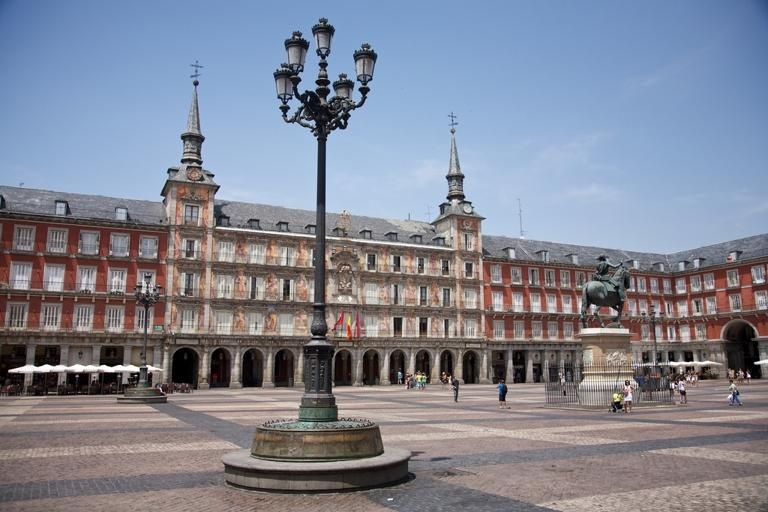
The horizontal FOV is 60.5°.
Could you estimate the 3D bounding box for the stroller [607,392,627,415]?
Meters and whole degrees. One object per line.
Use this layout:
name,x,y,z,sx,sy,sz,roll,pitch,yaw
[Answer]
stroller,11.948,7.490,33.762,1.296,0.716,0.628,23,-29,-32

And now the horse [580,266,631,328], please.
horse,13.514,2.450,39.824,6.060,3.885,1.775,-1,-2,-43

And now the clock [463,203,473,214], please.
clock,9.607,-5.459,75.265,1.178,1.424,0.569,6,-13,-28

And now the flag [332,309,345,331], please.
flag,-4.664,6.453,66.614,2.011,2.119,0.239,13,8,-42
